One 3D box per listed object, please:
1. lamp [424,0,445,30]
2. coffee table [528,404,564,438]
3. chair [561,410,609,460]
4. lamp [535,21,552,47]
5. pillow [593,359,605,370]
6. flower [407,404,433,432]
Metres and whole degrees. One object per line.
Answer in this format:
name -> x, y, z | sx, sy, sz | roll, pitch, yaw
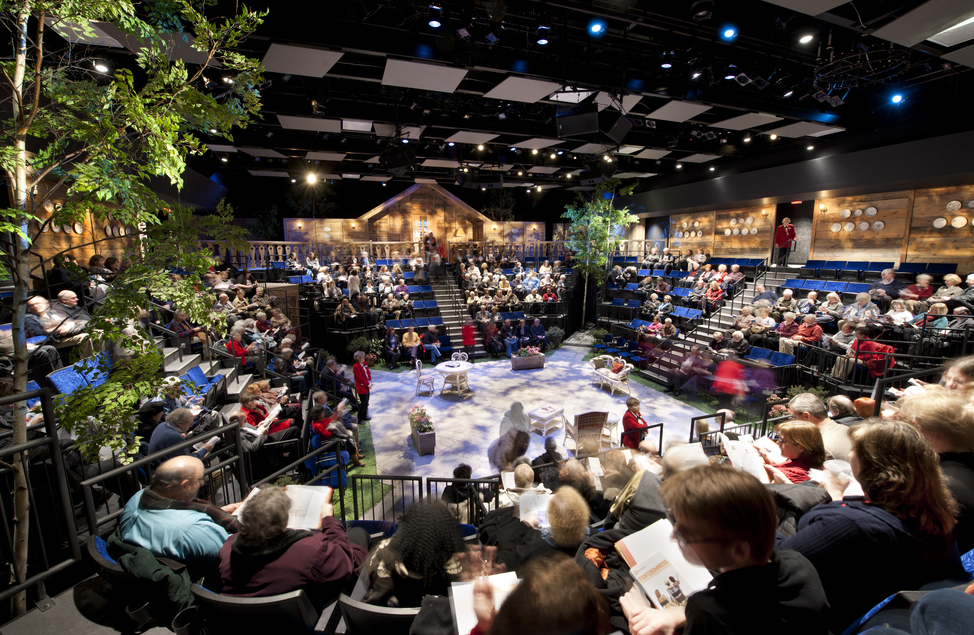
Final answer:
lamp -> -0.849, -4.875, 8.372 | 0.246, 0.322, 0.217 | -3, 11, -8
coffee table -> 1.296, 2.276, 11.398 | 0.538, 0.524, 0.860 | 8, 14, 41
chair -> 1.875, 2.297, 9.964 | 0.735, 0.876, 0.626 | -3, 27, -1
lamp -> 0.950, -4.825, 8.878 | 0.261, 0.184, 0.576 | 0, 10, 7
pillow -> 3.117, 1.319, 14.458 | 0.297, 0.195, 0.275 | -1, -1, -4
flower -> -1.353, 2.091, 10.550 | 0.420, 0.245, 0.625 | 0, 1, -12
